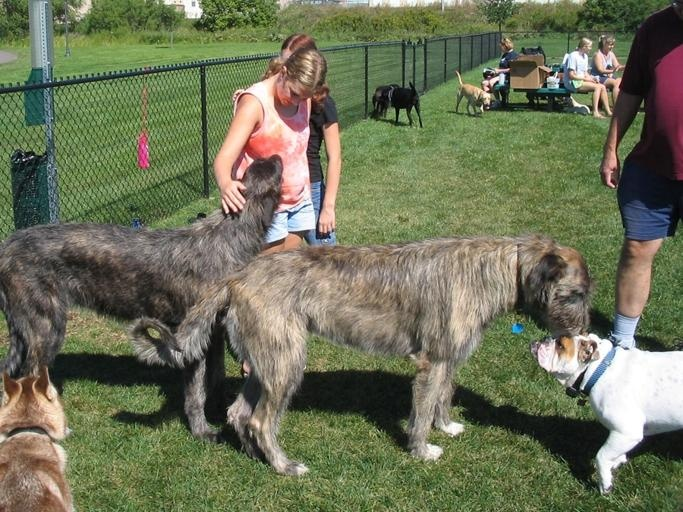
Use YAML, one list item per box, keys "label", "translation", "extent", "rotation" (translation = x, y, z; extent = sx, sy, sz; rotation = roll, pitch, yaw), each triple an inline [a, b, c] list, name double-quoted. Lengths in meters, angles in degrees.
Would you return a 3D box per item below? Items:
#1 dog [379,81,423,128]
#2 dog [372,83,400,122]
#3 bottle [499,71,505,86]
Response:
- label: "dog"
  translation: [1.477, -4.048, 17.424]
  extent: [0.514, 1.037, 1.754]
  rotation: [-13, 23, -33]
- label: "dog"
  translation: [1.086, -4.237, 17.807]
  extent: [0.299, 0.704, 1.030]
  rotation: [15, 7, 38]
- label: "bottle"
  translation: [4.764, -5.245, 19.641]
  extent: [0.173, 0.315, 0.283]
  rotation: [4, 16, 13]
